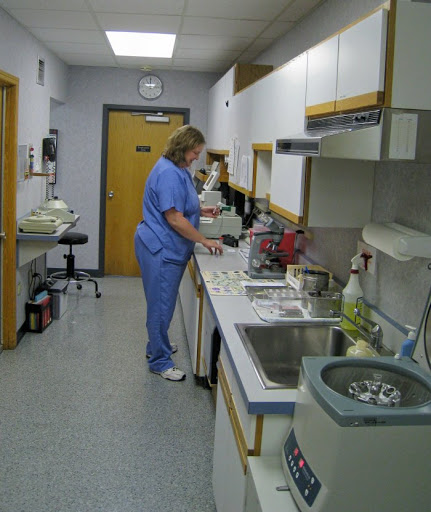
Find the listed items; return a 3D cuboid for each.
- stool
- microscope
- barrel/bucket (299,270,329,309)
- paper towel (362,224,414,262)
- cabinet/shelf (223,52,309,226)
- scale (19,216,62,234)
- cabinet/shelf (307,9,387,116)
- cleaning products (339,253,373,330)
[{"bbox_3d":[-1.698,0.082,4.959,0.545,1.022,0.587,5,12,-16],"label":"stool"},{"bbox_3d":[0.339,-0.072,2.592,0.216,0.405,0.184,0,25,1],"label":"microscope"},{"bbox_3d":[0.521,0.170,2.178,0.090,0.192,0.116,0,11,-20],"label":"barrel/bucket"},{"bbox_3d":[0.581,-0.056,1.370,0.122,0.085,0.350,4,10,12],"label":"paper towel"},{"bbox_3d":[0.337,-0.586,2.119,0.273,0.765,1.089,-1,11,-6],"label":"cabinet/shelf"},{"bbox_3d":[-1.534,-0.283,3.605,0.304,0.134,0.353,0,10,-15],"label":"scale"},{"bbox_3d":[0.421,-0.582,1.322,0.170,0.323,0.328,0,12,-4],"label":"cabinet/shelf"},{"bbox_3d":[0.604,0.162,1.787,0.123,0.342,0.123,0,8,-13],"label":"cleaning products"}]
